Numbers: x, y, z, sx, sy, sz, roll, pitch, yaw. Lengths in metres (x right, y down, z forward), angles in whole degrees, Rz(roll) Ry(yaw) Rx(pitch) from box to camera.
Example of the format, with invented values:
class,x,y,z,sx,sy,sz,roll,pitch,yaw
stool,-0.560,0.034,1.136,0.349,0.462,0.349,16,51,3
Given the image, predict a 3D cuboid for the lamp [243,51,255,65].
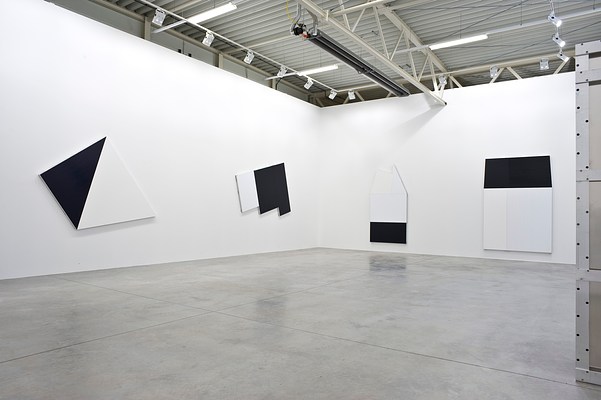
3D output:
class,x,y,z,sx,sy,sz,roll,pitch,yaw
lamp,-1.390,-3.874,10.033,0.187,0.378,0.449,-2,2,-3
